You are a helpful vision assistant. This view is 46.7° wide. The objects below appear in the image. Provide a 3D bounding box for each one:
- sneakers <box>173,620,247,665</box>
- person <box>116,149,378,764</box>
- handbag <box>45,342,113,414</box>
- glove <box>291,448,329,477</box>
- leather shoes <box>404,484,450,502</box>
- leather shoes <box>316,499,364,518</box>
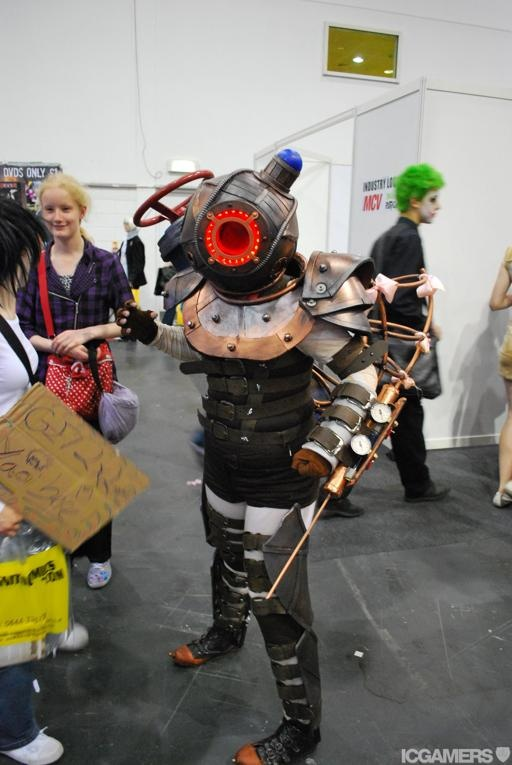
[{"bbox_3d":[-0.150,0.909,2.127,0.332,0.132,0.105,5,11,-32],"label":"sneakers"},{"bbox_3d":[0.004,0.218,1.662,0.641,1.622,0.502,5,12,17],"label":"person"},{"bbox_3d":[-0.602,-0.019,2.003,0.241,0.305,0.180,-6,5,-16],"label":"handbag"},{"bbox_3d":[0.124,0.184,1.361,0.060,0.045,0.079,31,-8,21],"label":"glove"},{"bbox_3d":[1.024,0.661,3.572,0.261,0.113,0.104,-7,12,-14],"label":"leather shoes"},{"bbox_3d":[0.474,0.700,3.341,0.261,0.112,0.096,-2,4,-5],"label":"leather shoes"}]
